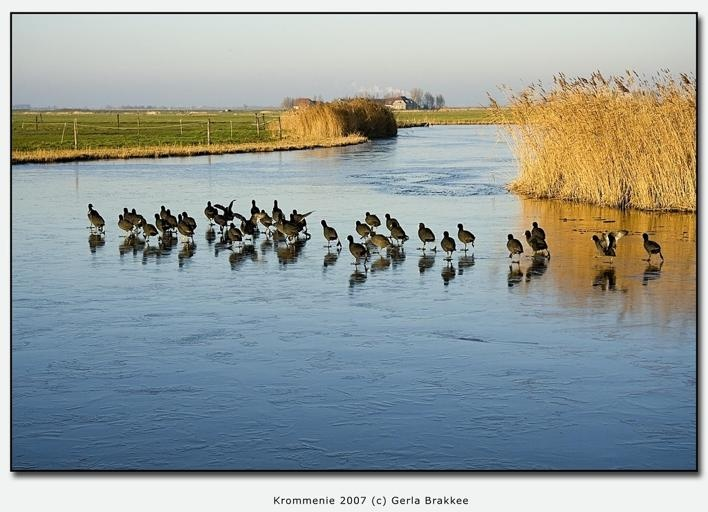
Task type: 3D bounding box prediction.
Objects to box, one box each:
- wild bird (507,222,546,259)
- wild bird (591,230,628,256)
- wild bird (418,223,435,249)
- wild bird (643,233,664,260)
[{"bbox_3d":[4.173,-0.340,21.936,0.732,0.739,1.249,-8,-8,15],"label":"wild bird"},{"bbox_3d":[5.882,-0.295,21.157,0.787,0.512,0.798,9,15,21],"label":"wild bird"},{"bbox_3d":[1.841,-0.498,23.120,0.443,0.623,1.247,-1,6,4],"label":"wild bird"},{"bbox_3d":[7.096,-0.211,21.540,0.449,0.594,1.252,0,6,18],"label":"wild bird"}]
